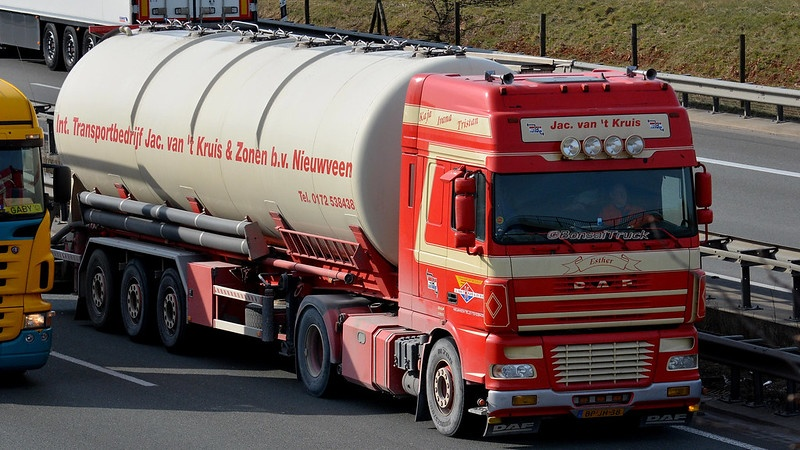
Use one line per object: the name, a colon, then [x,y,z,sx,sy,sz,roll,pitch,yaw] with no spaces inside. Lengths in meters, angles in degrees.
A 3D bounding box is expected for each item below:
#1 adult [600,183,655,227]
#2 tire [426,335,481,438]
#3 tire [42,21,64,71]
adult: [3.176,-0.298,12.561,0.670,0.584,0.187,4,6,-5]
tire: [0.720,2.399,13.152,0.385,1.449,0.864,-8,13,-26]
tire: [-13.367,-7.047,34.652,0.561,1.378,1.434,-2,34,-31]
